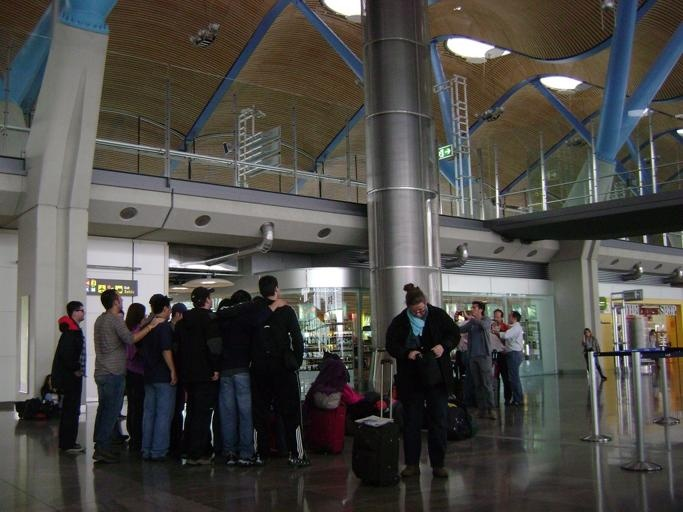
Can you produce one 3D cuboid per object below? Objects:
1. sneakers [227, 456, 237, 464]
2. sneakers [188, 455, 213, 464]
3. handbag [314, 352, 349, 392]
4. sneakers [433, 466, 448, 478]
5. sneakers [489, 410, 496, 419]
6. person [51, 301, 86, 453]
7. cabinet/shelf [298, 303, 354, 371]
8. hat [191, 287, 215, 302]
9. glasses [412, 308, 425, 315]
[{"bbox_3d":[-1.308,2.437,6.815,0.116,0.110,0.076,-19,-24,36],"label":"sneakers"},{"bbox_3d":[-1.698,2.488,6.983,0.299,0.114,0.103,-1,-1,-22],"label":"sneakers"},{"bbox_3d":[-0.156,1.578,7.741,0.477,0.528,0.373,-1,-10,-4],"label":"handbag"},{"bbox_3d":[1.065,2.338,6.194,0.151,0.114,0.089,-3,-10,6],"label":"sneakers"},{"bbox_3d":[2.686,2.821,10.202,0.129,0.135,0.475,-4,-10,13],"label":"sneakers"},{"bbox_3d":[-3.564,1.583,7.545,0.409,2.015,0.694,2,-11,-22],"label":"person"},{"bbox_3d":[-0.777,2.153,15.829,1.161,1.803,2.099,3,-1,43],"label":"cabinet/shelf"},{"bbox_3d":[-1.692,0.474,7.081,0.180,0.135,0.267,4,23,38],"label":"hat"},{"bbox_3d":[0.845,0.611,6.252,0.085,0.040,0.086,-3,2,17],"label":"glasses"}]
